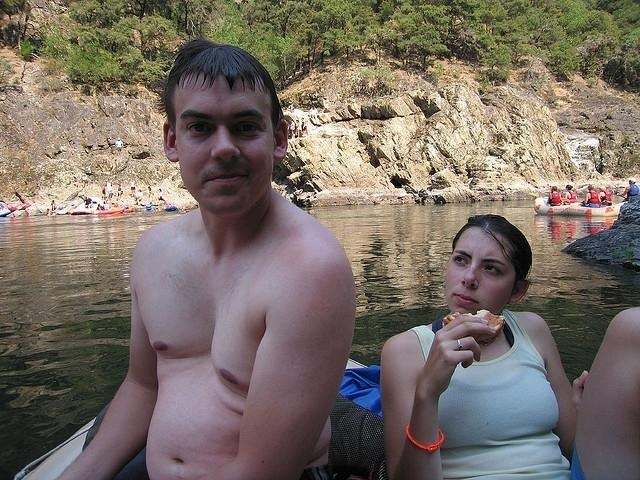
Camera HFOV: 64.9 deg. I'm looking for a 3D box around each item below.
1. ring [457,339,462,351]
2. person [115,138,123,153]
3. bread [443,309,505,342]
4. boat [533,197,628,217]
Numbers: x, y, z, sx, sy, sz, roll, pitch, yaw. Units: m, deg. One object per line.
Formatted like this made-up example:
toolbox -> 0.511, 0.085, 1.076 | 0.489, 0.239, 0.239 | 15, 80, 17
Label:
ring -> 0.579, 0.437, 2.090 | 0.012, 0.045, 0.013 | -7, 2, -5
person -> -13.610, -6.478, 34.031 | 0.538, 0.740, 0.341 | -3, -5, -1
bread -> 0.713, 0.371, 2.334 | 0.209, 0.078, 0.162 | 4, 6, 23
boat -> 9.601, -1.209, 18.729 | 2.772, 0.628, 1.392 | 3, 5, 30
